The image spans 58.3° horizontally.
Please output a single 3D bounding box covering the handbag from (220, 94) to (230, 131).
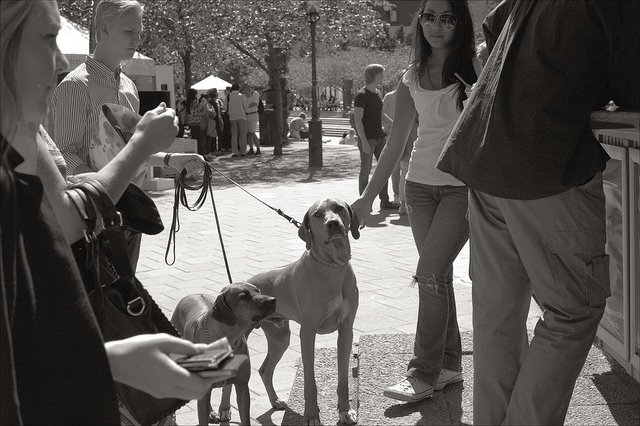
[{"bbox_3d":[-3.912,-3.759,23.556,0.345,0.828,0.918,-3,12,-9],"label":"handbag"}]

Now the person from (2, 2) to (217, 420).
[{"bbox_3d":[-0.779,-0.003,1.959,0.563,1.385,0.388,-3,12,-7],"label":"person"}]

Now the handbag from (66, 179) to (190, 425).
[{"bbox_3d":[-0.862,0.400,2.604,0.420,1.108,0.312,-5,12,-16],"label":"handbag"}]

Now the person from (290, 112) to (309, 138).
[{"bbox_3d":[-1.141,-4.449,29.839,0.893,1.050,1.823,-2,12,-3],"label":"person"}]
